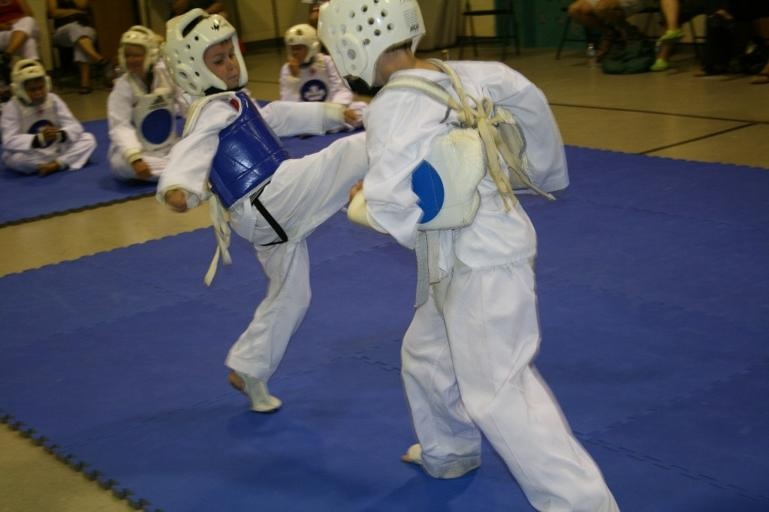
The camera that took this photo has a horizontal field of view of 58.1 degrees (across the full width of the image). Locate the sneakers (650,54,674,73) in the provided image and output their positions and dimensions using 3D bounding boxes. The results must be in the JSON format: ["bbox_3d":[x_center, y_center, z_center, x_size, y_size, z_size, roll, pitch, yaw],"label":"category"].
[{"bbox_3d":[3.860,-2.643,9.654,0.173,0.150,0.349,4,21,32],"label":"sneakers"}]

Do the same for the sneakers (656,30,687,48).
[{"bbox_3d":[3.899,-2.906,9.365,0.342,0.140,0.162,-18,20,-8],"label":"sneakers"}]

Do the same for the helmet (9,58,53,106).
[{"bbox_3d":[-3.571,-1.717,6.941,0.378,0.470,0.467,-5,16,-19],"label":"helmet"}]
